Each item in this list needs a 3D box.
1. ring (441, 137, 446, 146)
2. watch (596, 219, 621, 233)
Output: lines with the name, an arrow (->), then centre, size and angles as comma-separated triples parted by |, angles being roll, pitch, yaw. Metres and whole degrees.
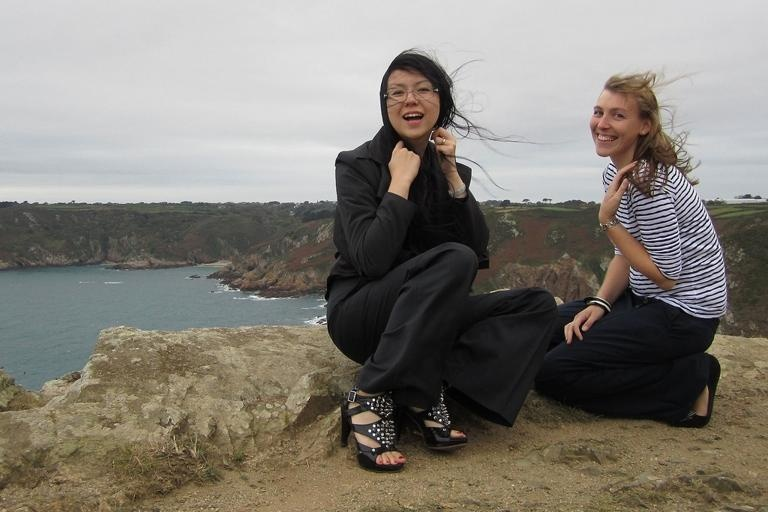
ring -> 0.487, -0.946, 3.811 | 0.062, 0.048, 0.015 | 3, -30, -3
watch -> 1.797, -0.238, 3.680 | 0.105, 0.041, 0.110 | -19, -5, 0
